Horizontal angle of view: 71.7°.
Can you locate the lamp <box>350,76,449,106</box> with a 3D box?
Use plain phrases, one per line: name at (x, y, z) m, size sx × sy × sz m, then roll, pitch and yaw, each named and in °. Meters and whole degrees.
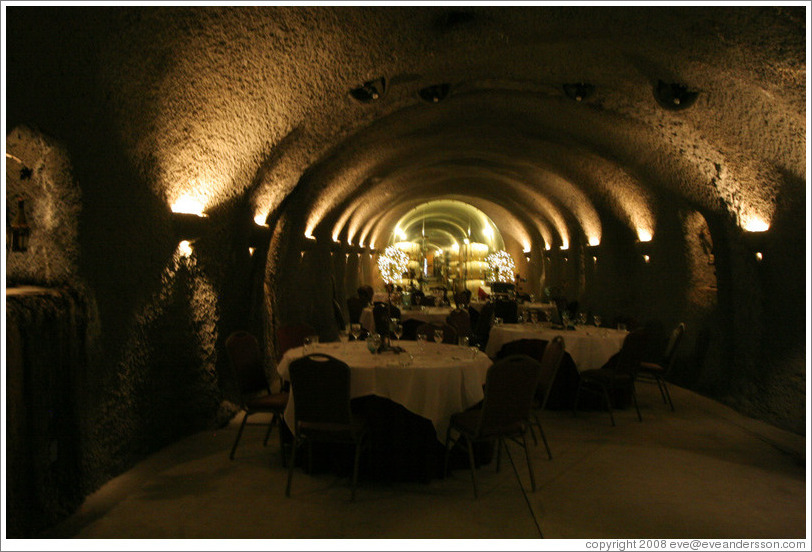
lamp at (-0.177, -2.494, 7.527) m, size 0.773 × 0.292 × 0.594 m, roll -7°, pitch 9°, yaw 2°
